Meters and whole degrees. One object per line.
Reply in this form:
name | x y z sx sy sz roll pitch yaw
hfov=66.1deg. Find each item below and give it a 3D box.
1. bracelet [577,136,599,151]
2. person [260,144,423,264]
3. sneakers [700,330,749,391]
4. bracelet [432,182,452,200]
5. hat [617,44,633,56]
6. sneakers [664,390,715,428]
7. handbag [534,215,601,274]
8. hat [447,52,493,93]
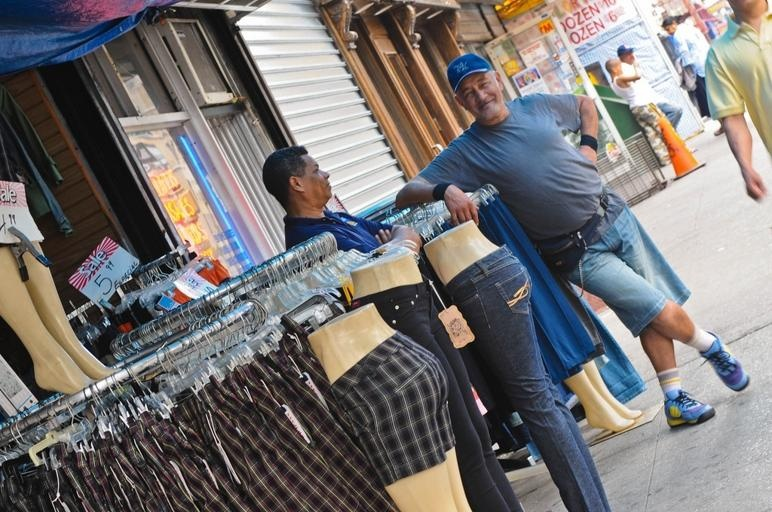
bracelet | 1.393 -0.789 4.097 0.119 0.097 0.120 7 -13 12
person | -0.266 -0.296 3.671 0.991 0.799 0.768 -3 14 -7
sneakers | 2.072 0.675 3.612 0.144 0.426 0.182 -44 -29 19
bracelet | 0.325 -0.395 3.516 0.076 0.102 0.100 8 -24 19
hat | 4.604 -3.959 11.449 0.292 0.151 0.420 -14 11 24
sneakers | 1.847 0.924 3.650 0.167 0.207 0.337 -8 -16 -22
handbag | 1.250 -0.066 3.915 0.438 0.258 0.407 -23 -3 14
hat | 0.528 -1.250 3.947 0.282 0.198 0.389 -21 8 15
